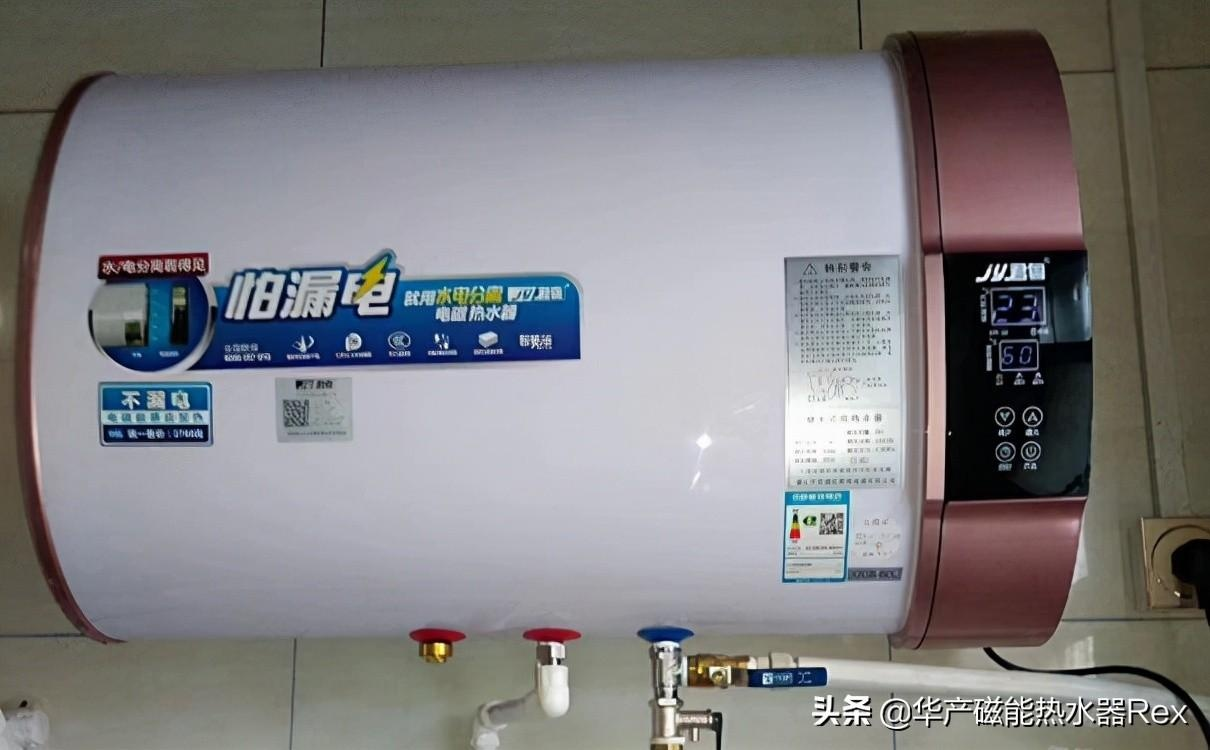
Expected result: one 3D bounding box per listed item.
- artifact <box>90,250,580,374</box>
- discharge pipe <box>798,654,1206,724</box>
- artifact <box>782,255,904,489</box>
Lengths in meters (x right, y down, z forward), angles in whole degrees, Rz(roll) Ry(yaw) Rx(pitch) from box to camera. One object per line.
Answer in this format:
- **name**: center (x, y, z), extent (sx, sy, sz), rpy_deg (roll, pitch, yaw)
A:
- **artifact**: center (-0.426, -0.097, 1.864), extent (0.766, 0.178, 0.046), rpy_deg (-3, 9, 3)
- **discharge pipe**: center (0.680, 0.553, 2.073), extent (0.849, 0.099, 0.099), rpy_deg (2, 29, -3)
- **artifact**: center (0.370, -0.005, 1.841), extent (0.177, 0.350, 0.086), rpy_deg (-2, 9, 11)
